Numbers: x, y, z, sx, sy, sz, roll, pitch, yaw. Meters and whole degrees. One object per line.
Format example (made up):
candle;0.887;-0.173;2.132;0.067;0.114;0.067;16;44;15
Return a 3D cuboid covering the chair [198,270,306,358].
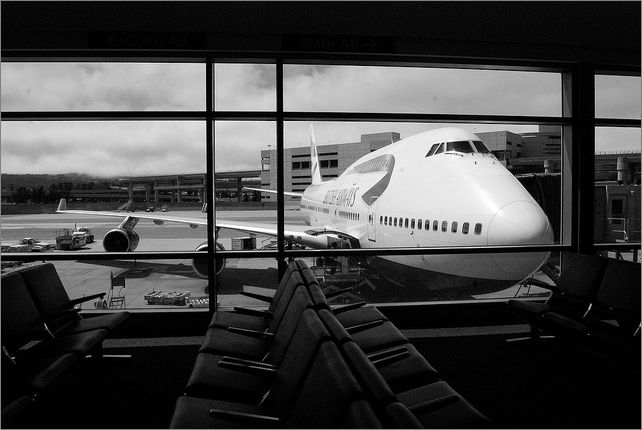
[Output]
chair;-0.670;0.936;5.428;0.822;0.882;1.036;11;-1;-4

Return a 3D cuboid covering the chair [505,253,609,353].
chair;2.782;0.854;6.049;1.026;1.010;0.740;0;-4;-6

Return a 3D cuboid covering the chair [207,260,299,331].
chair;-0.707;0.767;5.789;0.785;0.902;0.738;9;-1;-6

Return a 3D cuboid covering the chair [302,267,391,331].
chair;0.312;0.892;5.734;0.909;0.881;0.616;-8;5;4
